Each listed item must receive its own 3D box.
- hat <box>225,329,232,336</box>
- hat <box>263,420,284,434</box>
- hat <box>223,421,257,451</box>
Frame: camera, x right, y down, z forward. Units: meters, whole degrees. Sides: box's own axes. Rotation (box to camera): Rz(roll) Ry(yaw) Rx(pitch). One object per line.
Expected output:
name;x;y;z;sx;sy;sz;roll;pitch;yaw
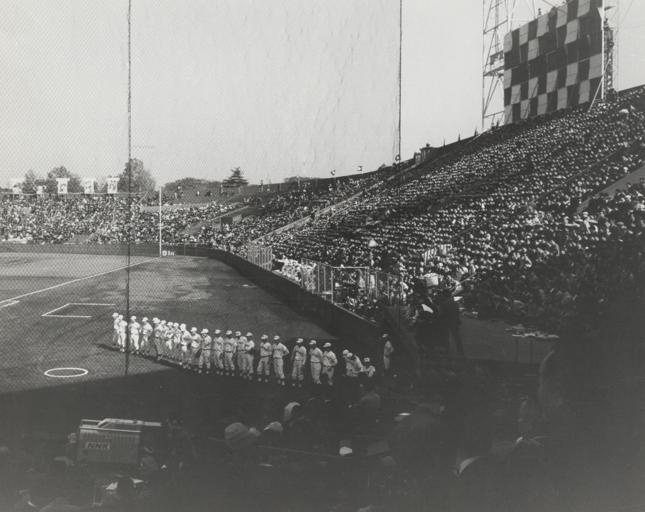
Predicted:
hat;-1.215;0.998;9.564;0.050;0.056;0.048;8;-9;-37
hat;-0.571;1.991;8.617;0.228;0.077;0.148;0;15;0
hat;-0.937;2.074;8.564;0.406;0.206;0.244;-2;15;-9
